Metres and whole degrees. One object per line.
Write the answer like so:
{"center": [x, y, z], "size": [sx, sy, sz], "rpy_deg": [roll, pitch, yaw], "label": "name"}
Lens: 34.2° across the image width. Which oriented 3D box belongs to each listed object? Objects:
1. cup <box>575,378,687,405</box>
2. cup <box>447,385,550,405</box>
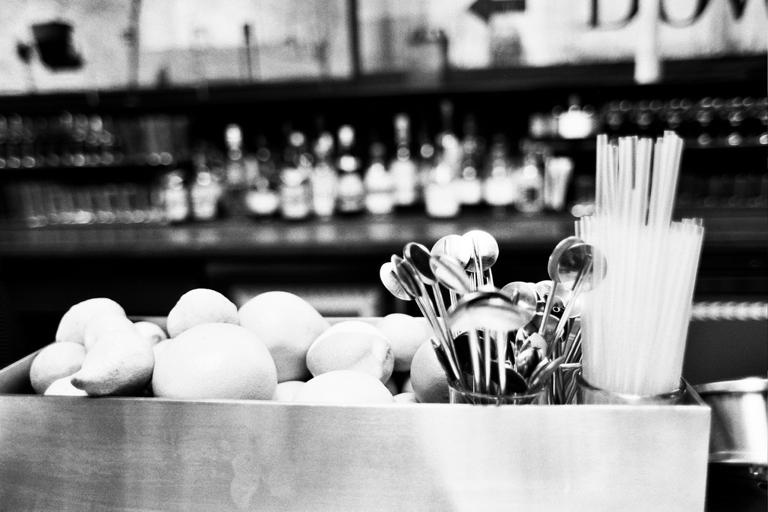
{"center": [0.529, 0.286, 2.647], "size": [0.231, 0.054, 0.043], "rpy_deg": [-1, 10, 4], "label": "cup"}
{"center": [0.244, 0.297, 2.639], "size": [0.207, 0.041, 0.051], "rpy_deg": [-1, 10, 2], "label": "cup"}
